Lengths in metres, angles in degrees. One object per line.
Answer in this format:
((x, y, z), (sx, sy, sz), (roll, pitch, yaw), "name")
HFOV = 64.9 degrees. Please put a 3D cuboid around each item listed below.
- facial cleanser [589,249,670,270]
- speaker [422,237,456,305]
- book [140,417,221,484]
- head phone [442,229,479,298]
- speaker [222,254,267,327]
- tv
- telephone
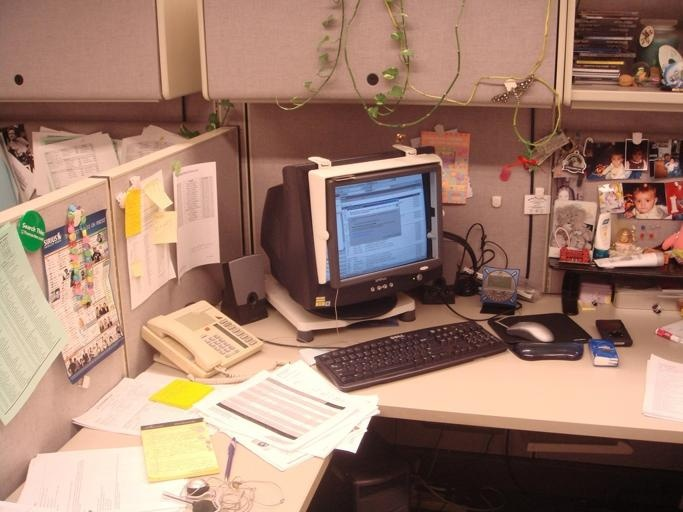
((0.972, 0.020, 1.831), (0.243, 0.064, 0.084), (-3, 18, 12), "facial cleanser")
((0.339, 0.096, 1.910), (0.119, 0.115, 0.118), (0, 21, 5), "speaker")
((-0.382, 0.441, 1.238), (0.124, 0.028, 0.116), (-6, 29, -29), "book")
((0.423, 0.011, 1.952), (0.172, 0.191, 0.083), (11, 36, 31), "head phone")
((-0.315, 0.122, 1.751), (0.145, 0.227, 0.153), (-17, 35, -40), "speaker")
((0.037, -0.126, 1.884), (0.530, 0.516, 0.556), (-15, 28, -28), "tv")
((-0.413, 0.239, 1.612), (0.321, 0.087, 0.327), (15, 18, 2), "telephone")
